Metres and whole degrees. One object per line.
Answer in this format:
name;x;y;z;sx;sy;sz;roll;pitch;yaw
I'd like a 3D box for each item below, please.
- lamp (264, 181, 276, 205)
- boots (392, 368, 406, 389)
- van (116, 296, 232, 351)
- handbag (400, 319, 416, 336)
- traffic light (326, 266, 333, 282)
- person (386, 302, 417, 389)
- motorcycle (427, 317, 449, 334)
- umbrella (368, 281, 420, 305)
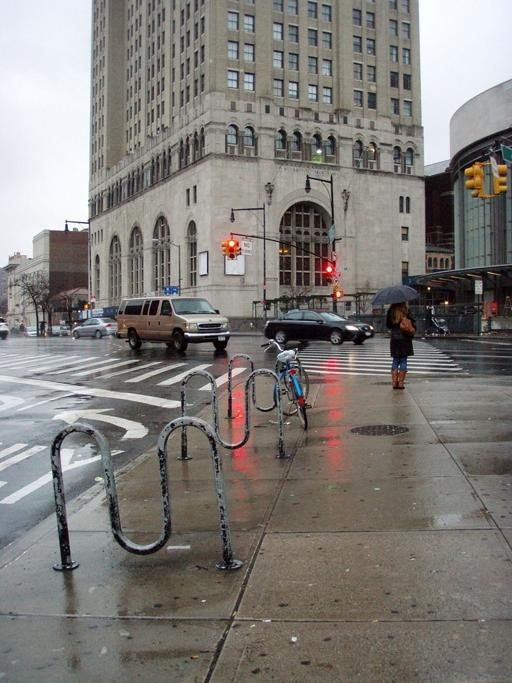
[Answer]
lamp;1.294;-14.139;63.697;1.096;2.110;0.447;-5;4;-41
boots;2.783;0.763;13.058;0.261;0.409;0.355;0;-8;1
van;-3.392;-0.779;28.217;2.301;1.918;4.397;-1;1;-39
handbag;2.903;-0.272;12.745;0.237;0.354;0.112;1;-26;-26
traffic light;4.743;-4.326;42.773;0.485;1.072;1.808;-2;3;6
person;2.907;0.082;13.365;0.516;1.700;1.556;-1;3;14
motorcycle;11.195;-0.933;40.485;0.814;1.198;1.041;12;-6;-41
umbrella;2.751;-0.904;13.120;0.716;0.374;0.893;-2;3;5
